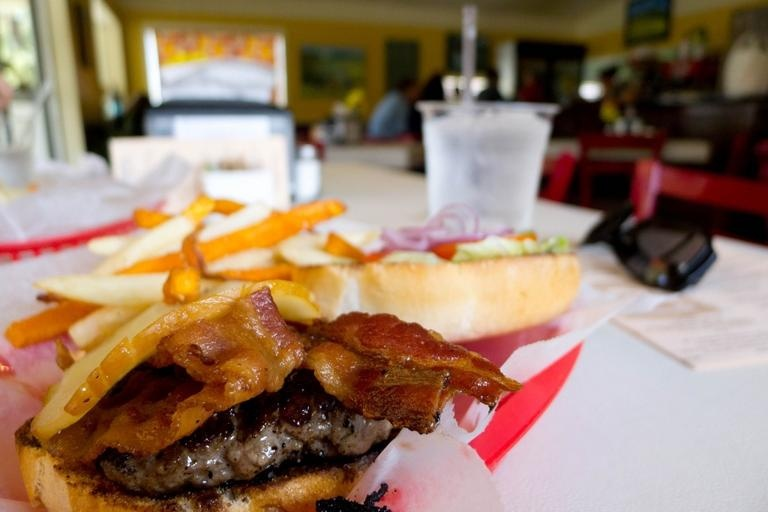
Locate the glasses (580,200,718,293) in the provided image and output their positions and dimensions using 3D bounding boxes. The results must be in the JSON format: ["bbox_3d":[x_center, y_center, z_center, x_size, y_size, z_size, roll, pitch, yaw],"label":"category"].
[{"bbox_3d":[0.497,-0.025,1.204,0.149,0.070,0.177,-24,44,-7],"label":"glasses"}]

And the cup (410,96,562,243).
[{"bbox_3d":[0.230,-0.209,1.607,0.329,0.249,0.322,1,11,0],"label":"cup"}]
